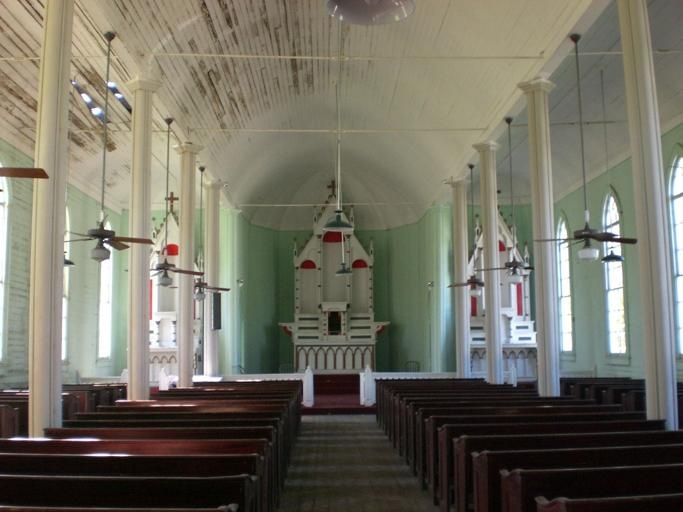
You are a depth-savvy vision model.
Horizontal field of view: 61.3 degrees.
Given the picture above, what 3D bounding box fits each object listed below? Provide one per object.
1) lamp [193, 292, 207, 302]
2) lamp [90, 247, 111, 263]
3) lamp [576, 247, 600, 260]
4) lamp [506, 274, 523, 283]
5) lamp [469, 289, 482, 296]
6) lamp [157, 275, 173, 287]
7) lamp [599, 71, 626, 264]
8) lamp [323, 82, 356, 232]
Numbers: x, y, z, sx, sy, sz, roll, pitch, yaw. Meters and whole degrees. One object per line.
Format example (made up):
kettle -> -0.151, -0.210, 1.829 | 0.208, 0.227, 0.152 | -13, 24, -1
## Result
lamp -> -3.974, 1.149, 16.013 | 0.267, 0.299, 0.281 | 0, -4, -7
lamp -> -4.080, -0.016, 9.740 | 0.238, 0.278, 0.248 | 1, -5, -4
lamp -> 4.365, -0.032, 10.221 | 0.280, 0.219, 0.294 | -8, -5, 35
lamp -> 3.849, 0.520, 12.810 | 0.206, 0.161, 0.217 | 0, -7, 4
lamp -> 3.661, 1.010, 15.684 | 0.254, 0.190, 0.269 | -2, 2, 2
lamp -> -3.997, 0.598, 13.057 | 0.256, 0.279, 0.256 | 6, -6, -35
lamp -> 7.767, -2.623, 16.488 | 0.826, 5.038, 0.863 | -6, 9, 17
lamp -> -0.068, -2.064, 13.577 | 0.580, 2.908, 0.573 | 4, 8, 34
